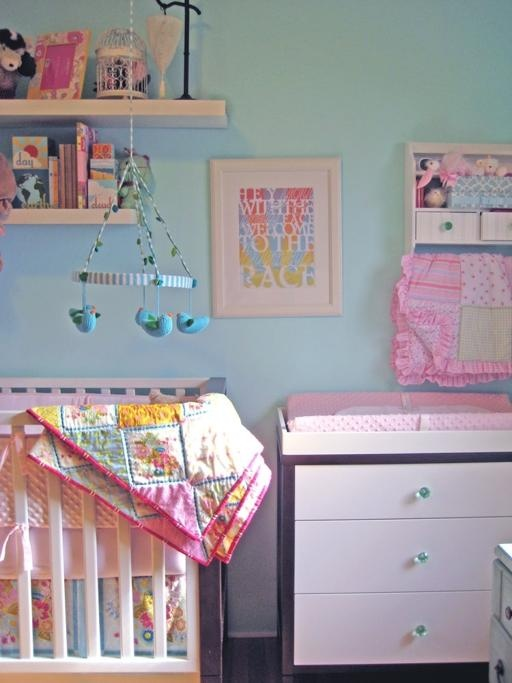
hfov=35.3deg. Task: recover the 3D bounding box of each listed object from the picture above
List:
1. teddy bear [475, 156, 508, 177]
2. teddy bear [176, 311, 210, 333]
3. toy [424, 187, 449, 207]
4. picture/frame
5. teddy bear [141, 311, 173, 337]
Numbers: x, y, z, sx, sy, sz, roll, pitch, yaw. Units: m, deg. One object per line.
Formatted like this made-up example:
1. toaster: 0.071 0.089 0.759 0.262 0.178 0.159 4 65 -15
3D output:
1. teddy bear: 0.801 -0.593 2.751 0.068 0.051 0.109 8 8 13
2. teddy bear: -0.188 -0.046 2.431 0.094 0.061 0.063 -6 29 -19
3. toy: 0.613 -0.489 2.772 0.058 0.073 0.052 13 -32 7
4. picture/frame: 0.060 -0.387 2.797 0.593 0.653 0.053 -2 6 -1
5. teddy bear: -0.280 -0.049 2.343 0.069 0.055 0.090 3 1 -13
